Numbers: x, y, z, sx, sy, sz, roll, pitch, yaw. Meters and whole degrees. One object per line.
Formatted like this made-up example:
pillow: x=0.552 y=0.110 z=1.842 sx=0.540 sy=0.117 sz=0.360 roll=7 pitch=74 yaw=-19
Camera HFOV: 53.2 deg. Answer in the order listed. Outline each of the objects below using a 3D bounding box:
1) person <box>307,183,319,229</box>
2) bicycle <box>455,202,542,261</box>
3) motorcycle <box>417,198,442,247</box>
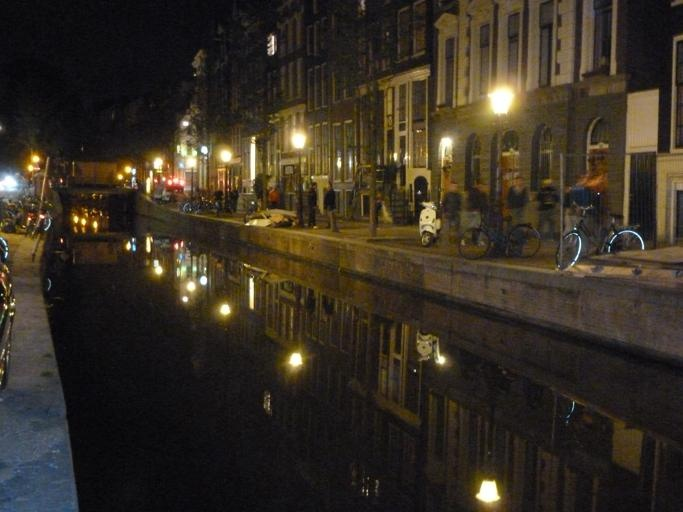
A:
person: x=-1.347 y=-2.338 z=31.389 sx=0.351 sy=2.022 sz=1.468 roll=-2 pitch=6 yaw=-6
bicycle: x=3.863 y=-0.523 z=16.950 sx=2.013 sy=1.486 sz=1.115 roll=1 pitch=-6 yaw=0
motorcycle: x=2.651 y=-0.979 z=20.670 sx=0.616 sy=1.304 sz=1.961 roll=2 pitch=5 yaw=14
